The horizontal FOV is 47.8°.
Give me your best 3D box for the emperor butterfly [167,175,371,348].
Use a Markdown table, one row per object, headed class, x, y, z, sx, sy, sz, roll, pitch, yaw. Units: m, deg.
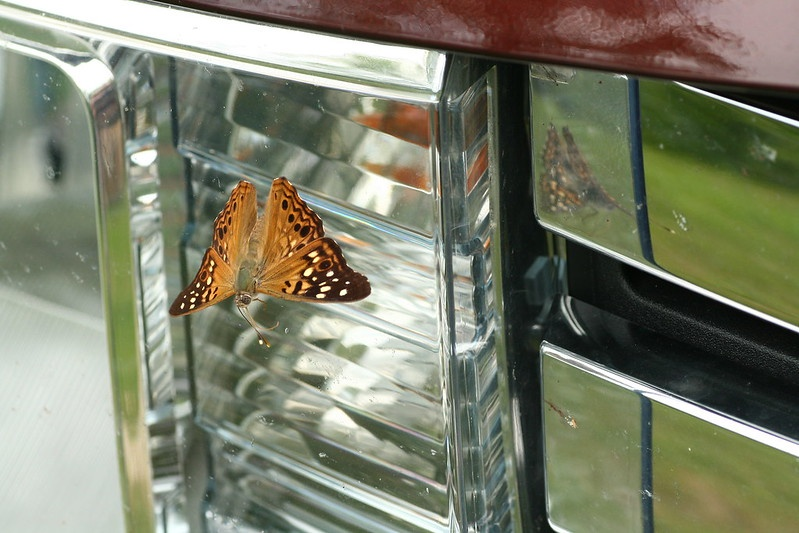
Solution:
| class | x | y | z | sx | sy | sz | roll | pitch | yaw |
| --- | --- | --- | --- | --- | --- | --- | --- | --- | --- |
| emperor butterfly | -0.101 | -0.023 | 0.677 | 0.130 | 0.119 | 0.046 | 6 | 15 | 31 |
